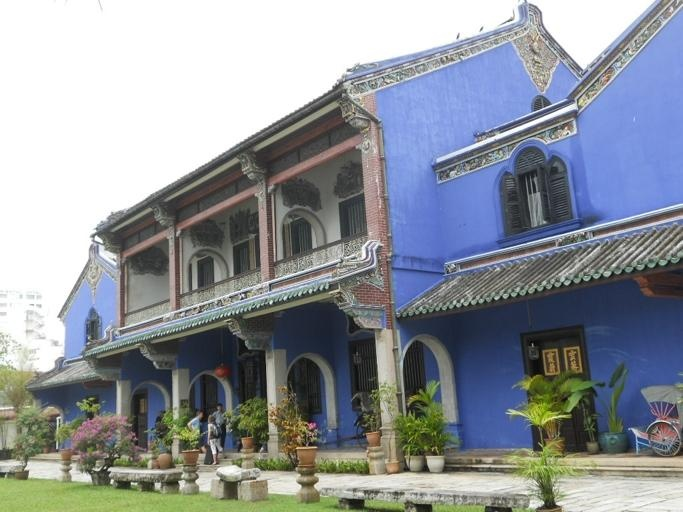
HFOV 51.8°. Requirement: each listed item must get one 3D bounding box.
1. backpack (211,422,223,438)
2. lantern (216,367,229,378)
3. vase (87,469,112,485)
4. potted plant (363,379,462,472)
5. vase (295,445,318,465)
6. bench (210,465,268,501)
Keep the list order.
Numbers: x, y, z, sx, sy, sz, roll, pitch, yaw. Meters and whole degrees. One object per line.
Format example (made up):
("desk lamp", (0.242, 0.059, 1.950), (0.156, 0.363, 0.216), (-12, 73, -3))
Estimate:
("backpack", (-3.435, 4.697, 18.919), (0.376, 0.410, 0.303), (-7, -12, 26))
("lantern", (-3.526, 3.469, 20.863), (0.318, 0.299, 0.320), (-9, 9, -20))
("vase", (-5.740, 5.262, 16.671), (0.427, 0.347, 0.471), (-2, -30, -4))
("potted plant", (1.532, 3.747, 15.774), (1.841, 2.058, 1.727), (18, -33, -28))
("vase", (-0.673, 3.836, 13.330), (0.398, 0.299, 0.408), (1, -25, -4))
("bench", (-1.904, 4.220, 13.011), (1.207, 0.371, 0.574), (-5, 8, 34))
